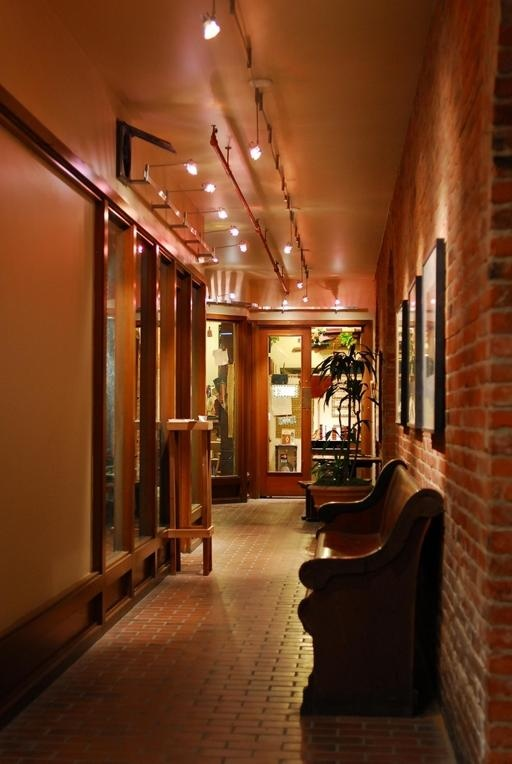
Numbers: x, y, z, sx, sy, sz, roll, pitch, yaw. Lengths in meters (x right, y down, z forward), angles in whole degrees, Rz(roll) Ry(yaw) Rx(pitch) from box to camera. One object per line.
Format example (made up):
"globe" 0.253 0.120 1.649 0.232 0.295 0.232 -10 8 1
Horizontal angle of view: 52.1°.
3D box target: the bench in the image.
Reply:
"bench" 0.579 0.981 2.833 0.489 0.939 1.415 3 -4 11

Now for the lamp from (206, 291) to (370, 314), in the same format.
"lamp" 0.675 -1.505 10.040 2.099 0.424 0.179 3 7 -4

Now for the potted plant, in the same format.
"potted plant" 1.182 0.583 6.579 0.853 2.195 0.878 0 -3 35
